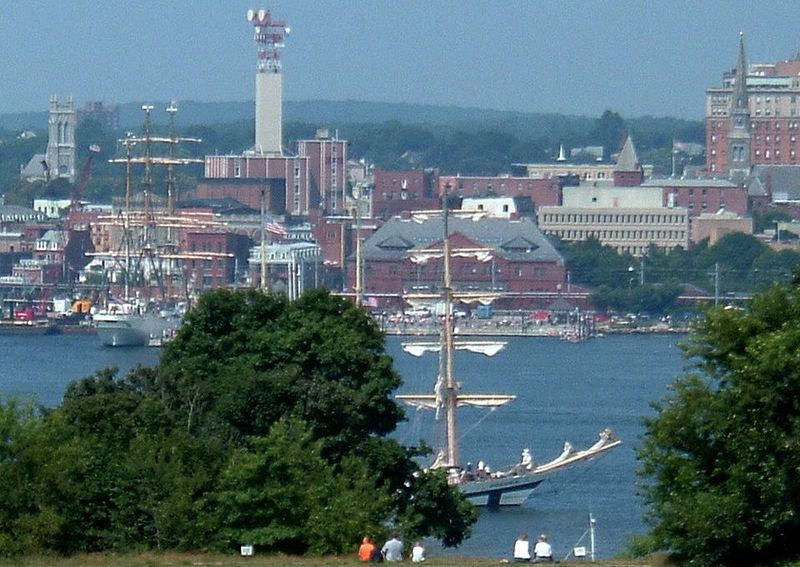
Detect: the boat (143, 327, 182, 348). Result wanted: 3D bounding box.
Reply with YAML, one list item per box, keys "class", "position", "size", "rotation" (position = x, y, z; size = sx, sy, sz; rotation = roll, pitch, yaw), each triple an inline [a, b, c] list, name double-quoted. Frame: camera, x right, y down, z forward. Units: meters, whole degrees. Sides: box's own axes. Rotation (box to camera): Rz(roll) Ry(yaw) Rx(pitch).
- class: "boat"
  position: [-15.553, 3.595, 180.169]
  size: [2.145, 1.290, 1.519]
  rotation: [-2, 0, -28]
